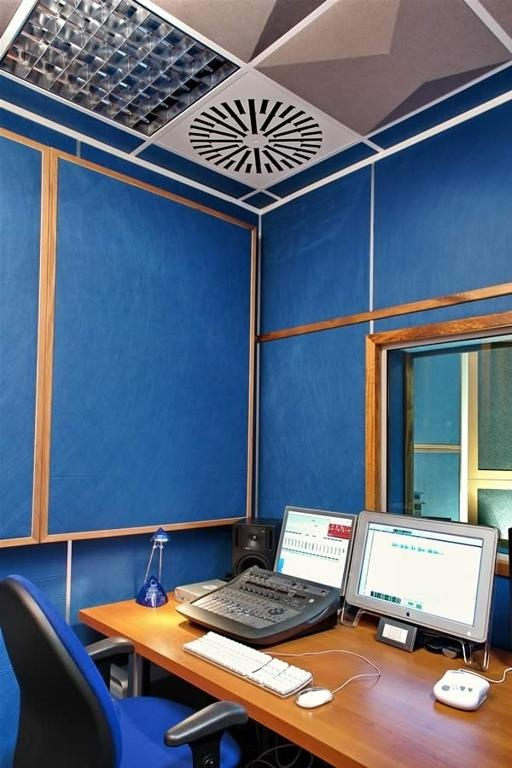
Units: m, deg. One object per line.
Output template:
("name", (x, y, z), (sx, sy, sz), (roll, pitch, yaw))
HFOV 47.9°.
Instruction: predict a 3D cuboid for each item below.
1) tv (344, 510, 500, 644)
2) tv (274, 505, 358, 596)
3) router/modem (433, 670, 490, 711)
("tv", (0.503, 0.590, 1.725), (0.052, 0.281, 0.364), (27, -21, -35))
("tv", (0.214, 0.584, 2.074), (0.205, 0.238, 0.306), (7, 0, -42))
("router/modem", (0.465, 0.702, 1.315), (0.098, 0.043, 0.111), (0, -2, 38))
